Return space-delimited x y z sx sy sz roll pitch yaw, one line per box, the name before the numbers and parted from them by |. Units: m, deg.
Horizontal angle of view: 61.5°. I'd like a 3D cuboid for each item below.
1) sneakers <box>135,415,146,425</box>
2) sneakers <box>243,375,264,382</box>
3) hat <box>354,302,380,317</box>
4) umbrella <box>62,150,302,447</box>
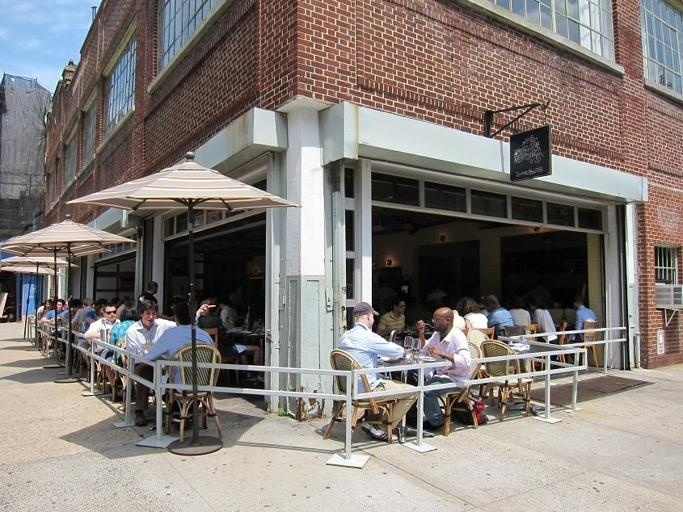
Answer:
sneakers | -3.000 2.450 8.617 0.159 0.158 0.119 -8 0 11
sneakers | -1.828 2.537 11.871 0.202 0.070 0.299 7 -9 -36
hat | 0.340 0.759 8.137 0.287 0.147 0.185 -1 0 -34
umbrella | -2.185 0.549 8.019 2.334 4.039 1.658 -1 4 -23
